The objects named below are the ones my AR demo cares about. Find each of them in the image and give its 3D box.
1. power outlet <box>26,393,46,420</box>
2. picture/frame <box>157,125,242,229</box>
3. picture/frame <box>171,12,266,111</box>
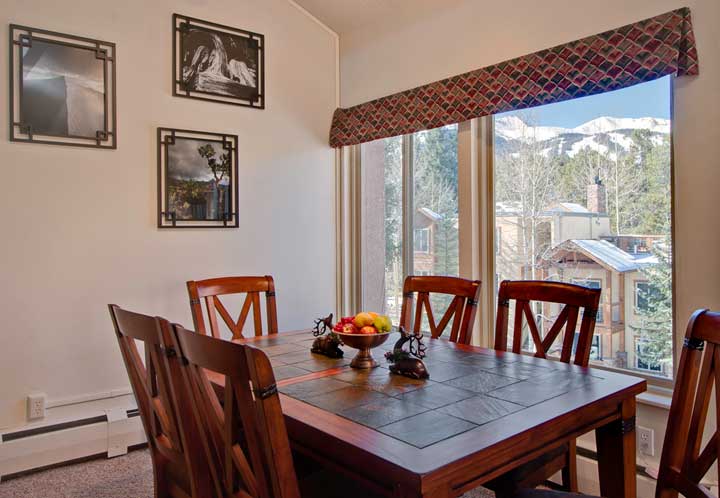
[{"bbox_3d":[-2.246,1.097,3.488,0.113,0.180,0.040,-4,5,-32],"label":"power outlet"},{"bbox_3d":[-1.332,-0.580,4.059,0.883,1.076,0.056,0,1,-38],"label":"picture/frame"},{"bbox_3d":[-1.206,-1.548,4.155,0.963,0.811,0.074,0,1,-34],"label":"picture/frame"}]
